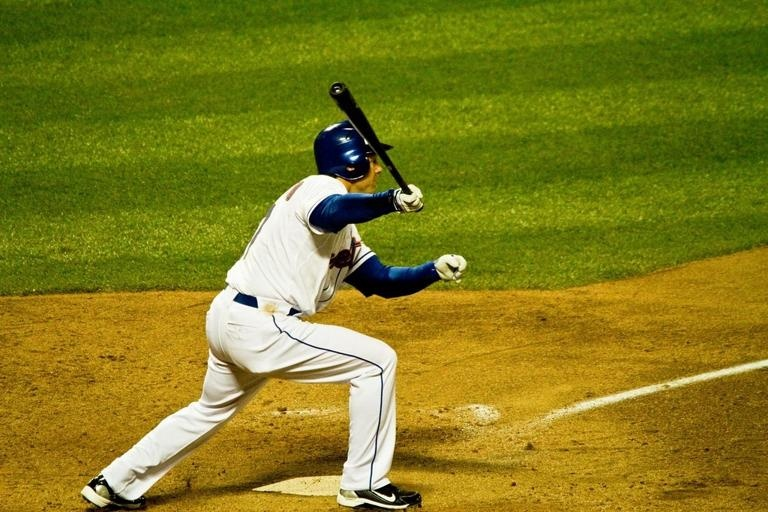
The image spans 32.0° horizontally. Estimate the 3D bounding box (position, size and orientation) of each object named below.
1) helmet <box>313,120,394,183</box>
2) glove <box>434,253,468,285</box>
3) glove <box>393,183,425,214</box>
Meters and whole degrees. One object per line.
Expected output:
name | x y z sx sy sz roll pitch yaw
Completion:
helmet | -0.319 -1.012 13.182 0.729 0.463 0.478 -5 6 -20
glove | 0.634 0.127 12.969 0.288 0.274 0.299 5 6 1
glove | 0.192 -0.514 12.598 0.284 0.143 0.217 44 48 10
